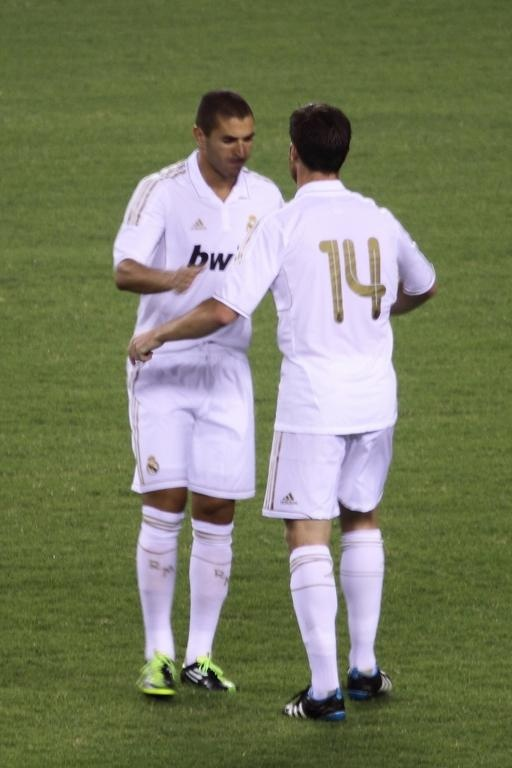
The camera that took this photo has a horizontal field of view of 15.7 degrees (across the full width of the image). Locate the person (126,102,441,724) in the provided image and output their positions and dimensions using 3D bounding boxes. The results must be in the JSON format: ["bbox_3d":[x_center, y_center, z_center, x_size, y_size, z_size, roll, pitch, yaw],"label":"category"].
[{"bbox_3d":[0.240,0.061,6.911,0.696,2.173,0.873,10,20,28],"label":"person"}]

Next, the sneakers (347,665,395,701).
[{"bbox_3d":[0.425,1.116,6.948,0.072,0.140,0.222,0,1,21],"label":"sneakers"}]

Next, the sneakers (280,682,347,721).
[{"bbox_3d":[0.215,1.160,6.774,0.088,0.171,0.276,3,-6,-28],"label":"sneakers"}]

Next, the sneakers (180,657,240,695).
[{"bbox_3d":[-0.179,1.081,7.014,0.166,0.116,0.110,11,9,28],"label":"sneakers"}]
